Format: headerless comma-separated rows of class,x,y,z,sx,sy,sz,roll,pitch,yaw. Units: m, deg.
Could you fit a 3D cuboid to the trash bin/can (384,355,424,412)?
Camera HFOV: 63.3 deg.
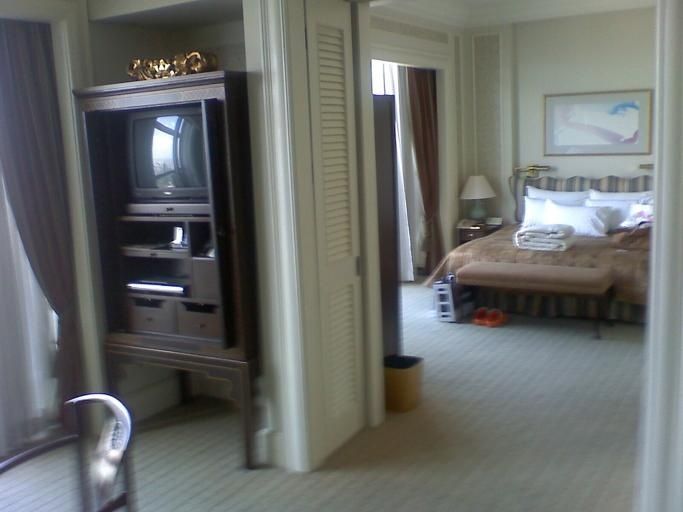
trash bin/can,0.436,0.900,4.115,0.345,0.374,0.394,-1,7,7

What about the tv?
tv,-1.049,-0.652,3.622,0.643,0.535,0.350,1,14,20

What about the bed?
bed,2.702,0.006,6.379,2.098,1.128,2.020,4,17,29

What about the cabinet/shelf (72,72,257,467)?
cabinet/shelf,-1.053,0.110,3.528,1.228,2.373,0.558,6,16,34

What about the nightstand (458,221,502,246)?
nightstand,1.839,-0.353,7.634,0.374,0.460,0.508,4,14,18

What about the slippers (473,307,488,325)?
slippers,1.472,0.636,5.845,0.130,0.174,0.059,2,-22,39

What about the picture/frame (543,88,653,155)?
picture/frame,3.343,-1.735,7.109,1.189,0.732,0.041,2,5,26
